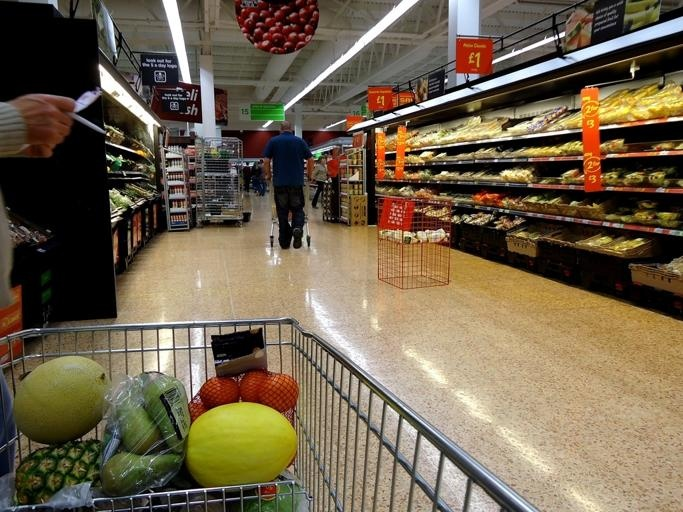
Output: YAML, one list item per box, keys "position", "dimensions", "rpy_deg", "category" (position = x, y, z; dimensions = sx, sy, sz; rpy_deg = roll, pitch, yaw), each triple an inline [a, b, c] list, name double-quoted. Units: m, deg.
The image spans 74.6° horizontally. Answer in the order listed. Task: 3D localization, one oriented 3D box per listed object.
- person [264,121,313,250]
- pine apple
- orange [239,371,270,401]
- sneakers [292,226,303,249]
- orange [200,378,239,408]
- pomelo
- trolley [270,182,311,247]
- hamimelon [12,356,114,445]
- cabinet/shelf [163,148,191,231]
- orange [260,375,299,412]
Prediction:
- position: [-0.898, -1.186, 7.696]
  dimensions: [0.820, 2.130, 1.246]
  rpy_deg: [-2, 11, -8]
  category: "person"
- position: [-0.671, 0.498, 1.128]
  dimensions: [0.201, 0.127, 0.257]
  rpy_deg: [0, 3, -16]
  category: "pine apple"
- position: [-0.260, 0.374, 1.298]
  dimensions: [0.066, 0.081, 0.039]
  rpy_deg: [2, -13, 12]
  category: "orange"
- position: [-0.737, -0.293, 7.390]
  dimensions: [0.138, 0.349, 0.150]
  rpy_deg: [2, 36, -2]
  category: "sneakers"
- position: [-0.350, 0.380, 1.284]
  dimensions: [0.092, 0.086, 0.090]
  rpy_deg: [-3, -8, 19]
  category: "orange"
- position: [-0.251, 0.480, 1.145]
  dimensions: [0.301, 0.208, 0.203]
  rpy_deg: [-3, 9, 0]
  category: "pomelo"
- position: [-0.863, -0.672, 7.500]
  dimensions: [0.438, 1.057, 0.572]
  rpy_deg: [0, 2, -12]
  category: "trolley"
- position: [-0.707, 0.353, 1.196]
  dimensions: [0.276, 0.206, 0.199]
  rpy_deg: [-3, 44, -34]
  category: "hamimelon"
- position: [-3.770, -1.482, 10.207]
  dimensions: [0.586, 1.936, 0.519]
  rpy_deg: [-1, 9, -22]
  category: "cabinet/shelf"
- position: [-0.181, 0.399, 1.299]
  dimensions: [0.115, 0.092, 0.060]
  rpy_deg: [9, 1, -6]
  category: "orange"
